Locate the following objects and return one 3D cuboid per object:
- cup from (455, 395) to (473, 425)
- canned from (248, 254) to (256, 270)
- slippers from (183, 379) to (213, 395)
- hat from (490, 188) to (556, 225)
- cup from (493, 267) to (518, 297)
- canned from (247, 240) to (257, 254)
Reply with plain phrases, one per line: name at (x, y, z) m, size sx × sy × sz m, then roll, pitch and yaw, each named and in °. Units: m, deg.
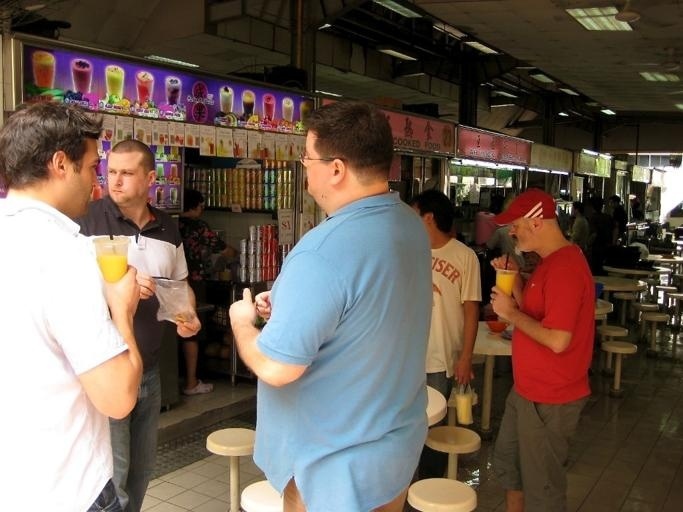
cup at (0.817, 1.010, 3.741) m, size 0.106 × 0.234 × 0.174 m, roll 3°, pitch 8°, yaw 12°
canned at (-0.898, 0.060, 5.712) m, size 0.109 × 0.192 × 0.114 m, roll 0°, pitch 2°, yaw -3°
slippers at (-1.396, 1.283, 5.442) m, size 0.209 × 0.094 × 0.109 m, roll -7°, pitch 8°, yaw -32°
hat at (1.093, -0.293, 3.309) m, size 0.288 × 0.180 × 0.194 m, roll 5°, pitch 9°, yaw 23°
cup at (0.980, 0.177, 3.430) m, size 0.150 × 0.174 × 0.151 m, roll 6°, pitch -18°, yaw 2°
canned at (-0.897, -0.086, 5.605) m, size 0.108 × 0.181 × 0.117 m, roll 3°, pitch -1°, yaw -3°
